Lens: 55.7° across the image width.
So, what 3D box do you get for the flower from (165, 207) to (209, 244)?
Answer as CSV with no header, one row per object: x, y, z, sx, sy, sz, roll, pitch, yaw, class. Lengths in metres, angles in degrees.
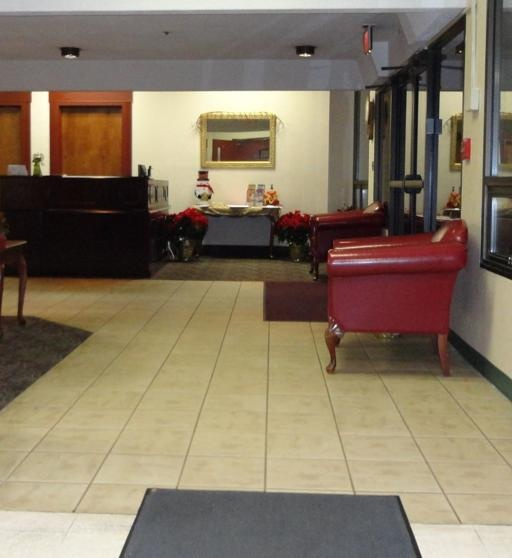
-1.109,-0.852,7.723,0.467,0.491,0.517,-2,7,0,flower

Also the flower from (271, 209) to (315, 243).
0.611,-0.866,8.035,0.471,0.533,0.521,1,4,11,flower

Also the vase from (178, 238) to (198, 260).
-1.107,-0.471,7.953,0.270,0.331,0.538,16,4,-3,vase

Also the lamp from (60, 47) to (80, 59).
-2.207,-2.672,5.749,0.229,0.115,0.333,-3,8,-22,lamp

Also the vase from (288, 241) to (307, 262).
0.707,-0.447,8.088,0.256,0.298,0.265,1,5,-1,vase

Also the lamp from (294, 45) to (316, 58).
0.569,-2.589,5.527,0.235,0.099,0.313,1,8,6,lamp
